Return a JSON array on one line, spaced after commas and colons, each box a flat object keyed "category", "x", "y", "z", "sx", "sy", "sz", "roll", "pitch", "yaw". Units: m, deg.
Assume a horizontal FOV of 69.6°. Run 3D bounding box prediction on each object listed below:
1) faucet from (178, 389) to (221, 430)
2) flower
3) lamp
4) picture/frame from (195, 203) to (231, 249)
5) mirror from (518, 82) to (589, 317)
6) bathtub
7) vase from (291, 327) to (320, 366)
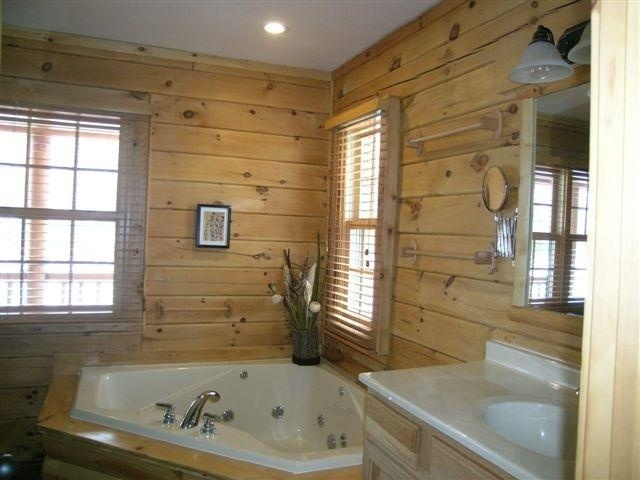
[{"category": "faucet", "x": -0.661, "y": 0.957, "z": 2.515, "sx": 0.132, "sy": 0.218, "sz": 0.283, "roll": 3, "pitch": 5, "yaw": 11}, {"category": "flower", "x": -0.193, "y": 0.355, "z": 3.545, "sx": 0.450, "sy": 0.772, "sz": 0.528, "roll": 2, "pitch": 5, "yaw": 0}, {"category": "lamp", "x": 0.908, "y": -0.744, "z": 1.824, "sx": 0.319, "sy": 0.185, "sz": 0.174, "roll": -4, "pitch": 0, "yaw": -22}, {"category": "picture/frame", "x": -0.827, "y": -0.101, "z": 3.474, "sx": 0.365, "sy": 0.449, "sz": 0.049, "roll": 1, "pitch": 1, "yaw": -25}, {"category": "mirror", "x": 0.962, "y": -0.158, "z": 1.912, "sx": 0.081, "sy": 0.924, "sz": 0.375, "roll": 1, "pitch": 6, "yaw": -16}, {"category": "bathtub", "x": -0.664, "y": 1.096, "z": 3.052, "sx": 0.903, "sy": 0.329, "sz": 1.065, "roll": 0, "pitch": -8, "yaw": 45}, {"category": "vase", "x": -0.108, "y": 0.810, "z": 3.454, "sx": 0.277, "sy": 0.262, "sz": 0.240, "roll": -1, "pitch": -4, "yaw": 9}]
